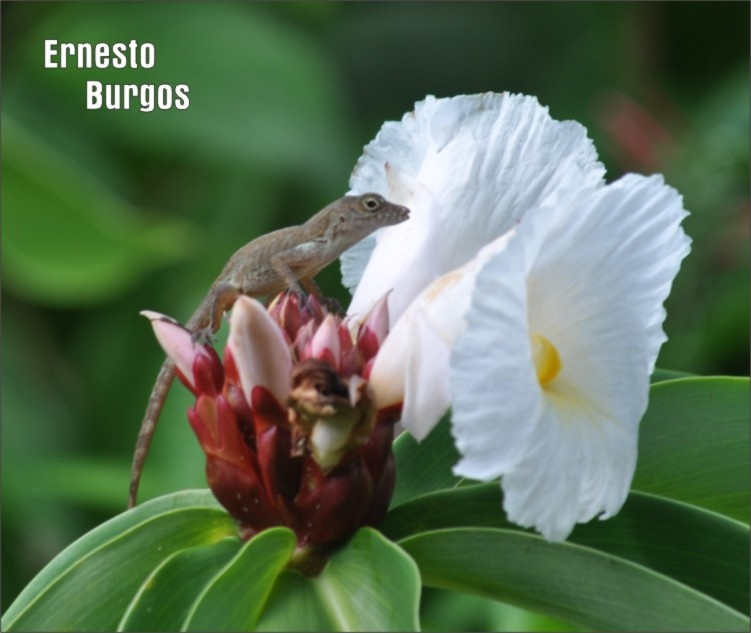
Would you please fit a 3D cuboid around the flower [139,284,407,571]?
[{"bbox_3d":[-0.078,0.087,0.850,0.226,0.249,0.296,-8,94,3],"label":"flower"}]

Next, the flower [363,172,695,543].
[{"bbox_3d":[0.143,0.035,0.752,0.105,0.305,0.297,7,44,35],"label":"flower"}]

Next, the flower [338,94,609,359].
[{"bbox_3d":[0.121,-0.084,1.010,0.279,0.410,0.170,14,53,5],"label":"flower"}]
